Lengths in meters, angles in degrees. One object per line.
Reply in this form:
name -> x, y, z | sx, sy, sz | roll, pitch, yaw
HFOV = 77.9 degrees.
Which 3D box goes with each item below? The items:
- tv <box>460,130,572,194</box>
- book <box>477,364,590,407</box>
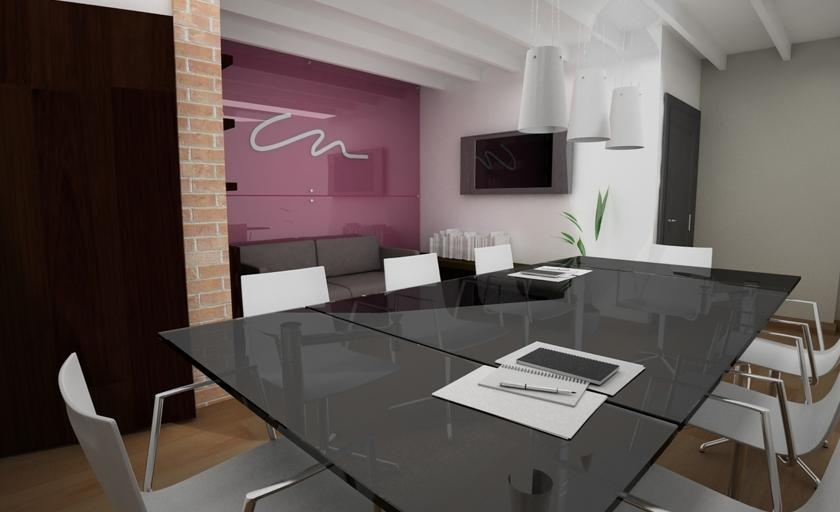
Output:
tv -> 1.184, -1.167, 6.548 | 1.525, 0.751, 0.178 | 6, 14, 39
book -> 0.558, 0.623, 2.485 | 0.345, 0.048, 0.195 | 5, 16, 25
